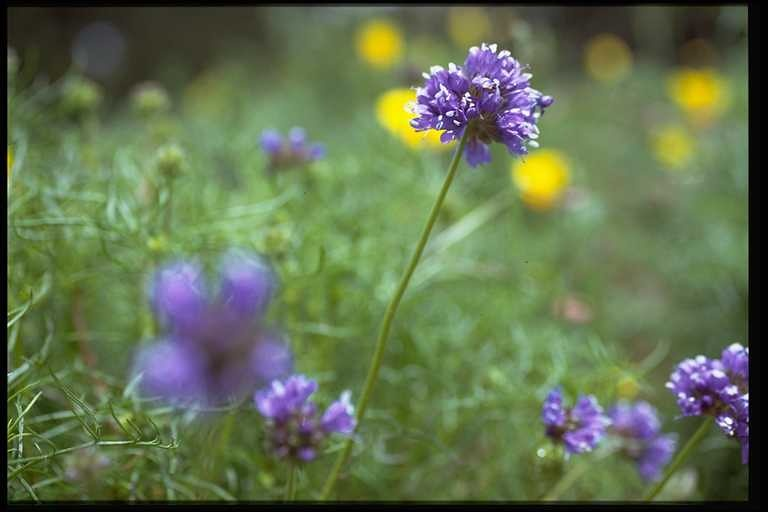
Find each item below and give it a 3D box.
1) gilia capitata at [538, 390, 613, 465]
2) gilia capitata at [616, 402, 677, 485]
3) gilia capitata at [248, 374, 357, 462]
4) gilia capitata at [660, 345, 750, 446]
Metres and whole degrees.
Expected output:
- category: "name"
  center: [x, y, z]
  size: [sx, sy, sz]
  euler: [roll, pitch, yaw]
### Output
- category: "gilia capitata"
  center: [0.269, 0.237, 1.074]
  size: [0.087, 0.042, 0.088]
  euler: [-38, 68, -17]
- category: "gilia capitata"
  center: [0.381, 0.271, 1.118]
  size: [0.096, 0.110, 0.020]
  euler: [9, 11, 18]
- category: "gilia capitata"
  center: [-0.109, 0.247, 1.094]
  size: [0.116, 0.087, 0.123]
  euler: [26, -2, 20]
- category: "gilia capitata"
  center: [0.466, 0.200, 1.106]
  size: [0.122, 0.075, 0.126]
  euler: [32, 44, 9]
